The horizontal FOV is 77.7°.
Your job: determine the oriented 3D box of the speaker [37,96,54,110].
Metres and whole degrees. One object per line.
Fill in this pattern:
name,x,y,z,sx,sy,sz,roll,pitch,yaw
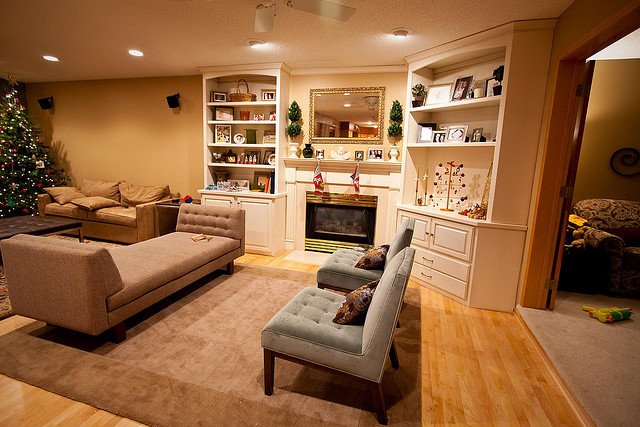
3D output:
speaker,-5.348,-2.170,7.746,0.224,0.225,0.140,10,13,8

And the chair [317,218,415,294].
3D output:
chair,0.569,0.600,4.815,0.988,0.779,0.975,3,13,20

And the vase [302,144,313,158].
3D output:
vase,-0.180,-1.010,6.409,0.187,0.221,0.190,2,9,15

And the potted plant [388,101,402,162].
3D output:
potted plant,1.166,-1.266,6.144,0.218,0.927,0.282,5,10,11

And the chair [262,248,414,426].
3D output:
chair,0.361,0.982,4.340,1.469,1.630,1.877,7,12,16

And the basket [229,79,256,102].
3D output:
basket,-1.267,-2.059,6.633,0.445,0.386,0.228,0,3,-2

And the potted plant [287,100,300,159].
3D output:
potted plant,-0.435,-1.372,6.506,0.208,0.886,0.276,2,10,-5

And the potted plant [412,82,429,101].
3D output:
potted plant,1.439,-1.760,5.814,0.282,0.275,0.277,-3,13,-13

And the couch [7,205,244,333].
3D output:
couch,-2.210,0.539,4.997,1.171,1.080,2.455,8,10,28

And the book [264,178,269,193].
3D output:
book,-0.865,-0.455,6.521,0.039,0.164,0.162,8,5,-8

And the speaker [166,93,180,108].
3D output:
speaker,-2.575,-2.006,6.983,0.223,0.253,0.180,4,9,6

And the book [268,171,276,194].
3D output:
book,-0.773,-0.515,6.465,0.179,0.359,0.081,12,13,41

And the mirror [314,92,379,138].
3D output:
mirror,0.469,-1.607,6.358,0.741,0.514,0.021,4,17,17
